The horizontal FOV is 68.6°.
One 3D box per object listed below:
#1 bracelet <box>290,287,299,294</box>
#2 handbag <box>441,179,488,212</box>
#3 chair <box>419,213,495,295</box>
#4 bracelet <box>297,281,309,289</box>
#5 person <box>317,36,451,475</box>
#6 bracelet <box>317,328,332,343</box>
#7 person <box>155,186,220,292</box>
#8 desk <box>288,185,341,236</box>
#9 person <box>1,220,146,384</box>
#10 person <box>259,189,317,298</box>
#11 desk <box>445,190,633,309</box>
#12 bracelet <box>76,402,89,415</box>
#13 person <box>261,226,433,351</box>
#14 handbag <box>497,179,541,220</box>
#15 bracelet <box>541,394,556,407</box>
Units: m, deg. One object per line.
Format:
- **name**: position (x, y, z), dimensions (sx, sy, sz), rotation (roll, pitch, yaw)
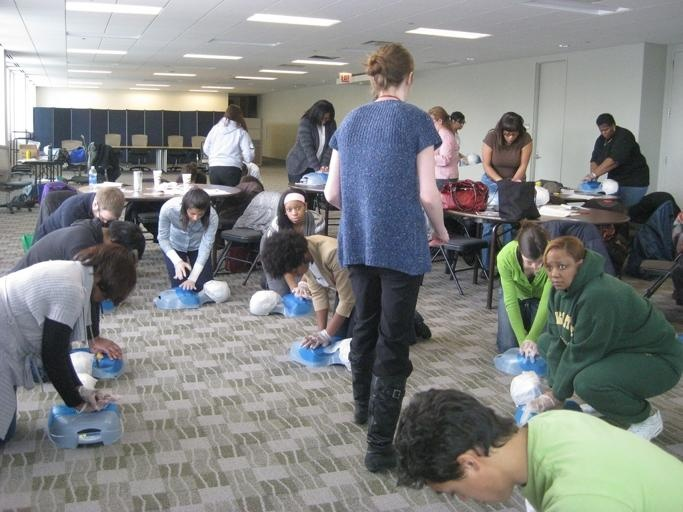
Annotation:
- **bracelet**: position (-0.428, 0.322, 4.504), dimensions (0.067, 0.071, 0.077), rotation (0, 16, 5)
- **handbag**: position (1.291, -0.637, 5.261), dimensions (0.487, 0.338, 0.249), rotation (9, 27, 33)
- **chair**: position (1.231, -0.158, 5.384), dimensions (0.534, 0.885, 0.635), rotation (-11, 16, -41)
- **bracelet**: position (-0.346, 0.248, 4.453), dimensions (0.076, 0.076, 0.057), rotation (13, -28, 26)
- **person**: position (0.176, 0.154, 2.429), dimensions (0.568, 1.755, 0.422), rotation (5, 14, 15)
- **bracelet**: position (-0.127, 0.584, 3.635), dimensions (0.076, 0.097, 0.077), rotation (-10, 20, -35)
- **person**: position (-1.495, -0.177, 5.013), dimensions (0.553, 1.013, 0.583), rotation (-7, 16, -32)
- **desk**: position (-0.383, -0.669, 7.533), dimensions (0.783, 0.862, 0.821), rotation (11, 17, 42)
- **person**: position (-1.863, 0.161, 3.469), dimensions (0.901, 0.899, 0.660), rotation (6, 15, -19)
- **person**: position (-0.427, -0.065, 4.761), dimensions (0.546, 1.185, 0.616), rotation (4, 24, 12)
- **desk**: position (1.817, -0.353, 5.118), dimensions (1.354, 0.712, 1.360), rotation (-2, 14, -6)
- **bracelet**: position (-1.315, 0.767, 2.546), dimensions (0.047, 0.031, 0.064), rotation (3, 2, 22)
- **person**: position (0.091, 0.272, 4.009), dimensions (1.462, 0.890, 0.535), rotation (5, -3, -30)
- **handbag**: position (1.663, -0.514, 4.954), dimensions (0.287, 0.400, 0.414), rotation (0, -3, 24)
- **bracelet**: position (1.127, 0.794, 2.750), dimensions (0.088, 0.063, 0.086), rotation (-21, -14, 27)
